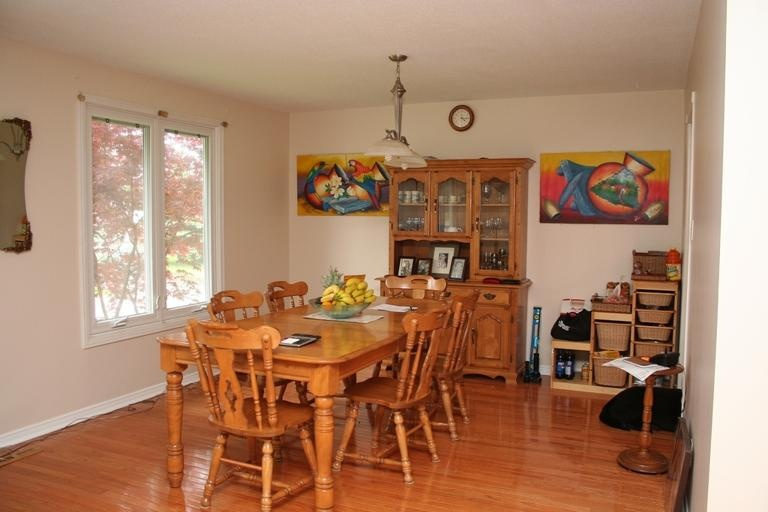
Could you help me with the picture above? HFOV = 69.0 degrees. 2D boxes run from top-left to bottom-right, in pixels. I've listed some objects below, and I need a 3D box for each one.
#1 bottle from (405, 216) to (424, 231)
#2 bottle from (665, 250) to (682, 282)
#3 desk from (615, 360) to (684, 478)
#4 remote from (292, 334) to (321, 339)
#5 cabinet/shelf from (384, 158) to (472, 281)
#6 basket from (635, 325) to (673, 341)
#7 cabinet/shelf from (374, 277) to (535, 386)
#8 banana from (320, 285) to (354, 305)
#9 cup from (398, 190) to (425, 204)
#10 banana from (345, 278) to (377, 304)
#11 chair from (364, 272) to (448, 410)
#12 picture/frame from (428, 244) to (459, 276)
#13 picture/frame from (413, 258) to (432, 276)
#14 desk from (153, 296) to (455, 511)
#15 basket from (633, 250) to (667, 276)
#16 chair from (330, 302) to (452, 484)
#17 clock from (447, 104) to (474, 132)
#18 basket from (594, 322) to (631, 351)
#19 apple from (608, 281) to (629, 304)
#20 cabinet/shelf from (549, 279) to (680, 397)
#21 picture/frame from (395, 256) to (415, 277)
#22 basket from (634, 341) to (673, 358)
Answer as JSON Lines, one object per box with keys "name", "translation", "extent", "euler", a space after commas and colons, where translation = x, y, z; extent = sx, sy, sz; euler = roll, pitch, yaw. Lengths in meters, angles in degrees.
{"name": "bottle", "translation": [0.362, -0.383, 6.631], "extent": [0.263, 0.177, 0.144], "euler": [3, 7, 21]}
{"name": "bottle", "translation": [2.935, 0.090, 5.665], "extent": [0.142, 0.309, 0.360], "euler": [1, 4, 26]}
{"name": "desk", "translation": [2.169, 1.251, 4.532], "extent": [0.440, 0.858, 0.678], "euler": [2, 5, 31]}
{"name": "remote", "translation": [-0.569, 0.600, 4.166], "extent": [0.148, 0.023, 0.246], "euler": [2, -7, 20]}
{"name": "cabinet/shelf", "translation": [0.557, -0.375, 6.599], "extent": [0.997, 1.280, 0.380], "euler": [0, -4, 2]}
{"name": "basket", "translation": [2.749, 0.791, 5.708], "extent": [0.339, 0.169, 0.140], "euler": [0, 4, 23]}
{"name": "cabinet/shelf", "translation": [0.746, 0.831, 6.217], "extent": [1.546, 1.030, 0.585], "euler": [8, -8, -35]}
{"name": "banana", "translation": [-0.395, 0.351, 4.666], "extent": [0.203, 0.070, 0.191], "euler": [7, 18, -26]}
{"name": "cup", "translation": [0.318, -0.688, 6.579], "extent": [0.159, 0.124, 0.269], "euler": [0, 2, -27]}
{"name": "banana", "translation": [-0.232, 0.299, 4.791], "extent": [0.089, 0.186, 0.253], "euler": [-40, 13, -27]}
{"name": "chair", "translation": [0.277, 0.673, 5.827], "extent": [1.003, 1.352, 1.056], "euler": [0, -3, 25]}
{"name": "picture/frame", "translation": [0.714, 0.060, 6.603], "extent": [0.354, 0.423, 0.036], "euler": [8, -8, 27]}
{"name": "picture/frame", "translation": [0.458, 0.141, 6.639], "extent": [0.223, 0.240, 0.026], "euler": [5, -17, 31]}
{"name": "desk", "translation": [-0.710, 0.771, 4.296], "extent": [1.361, 0.910, 2.189], "euler": [0, 0, 21]}
{"name": "basket", "translation": [2.789, 0.080, 5.898], "extent": [0.321, 0.242, 0.506], "euler": [1, 3, 24]}
{"name": "chair", "translation": [0.124, 1.076, 5.050], "extent": [1.288, 1.749, 1.135], "euler": [0, -1, 24]}
{"name": "clock", "translation": [0.926, -1.655, 6.691], "extent": [0.376, 0.343, 0.049], "euler": [1, 1, 24]}
{"name": "basket", "translation": [2.389, 0.853, 5.854], "extent": [0.278, 0.217, 0.349], "euler": [0, -7, 16]}
{"name": "apple", "translation": [2.522, 0.396, 6.034], "extent": [0.195, 0.066, 0.296], "euler": [1, 20, 28]}
{"name": "cabinet/shelf", "translation": [2.428, 0.891, 5.982], "extent": [1.277, 1.120, 0.446], "euler": [-1, -1, 17]}
{"name": "picture/frame", "translation": [0.242, 0.143, 6.690], "extent": [0.245, 0.299, 0.033], "euler": [5, -5, 9]}
{"name": "basket", "translation": [2.717, 0.950, 5.657], "extent": [0.363, 0.144, 0.107], "euler": [0, 4, 22]}
